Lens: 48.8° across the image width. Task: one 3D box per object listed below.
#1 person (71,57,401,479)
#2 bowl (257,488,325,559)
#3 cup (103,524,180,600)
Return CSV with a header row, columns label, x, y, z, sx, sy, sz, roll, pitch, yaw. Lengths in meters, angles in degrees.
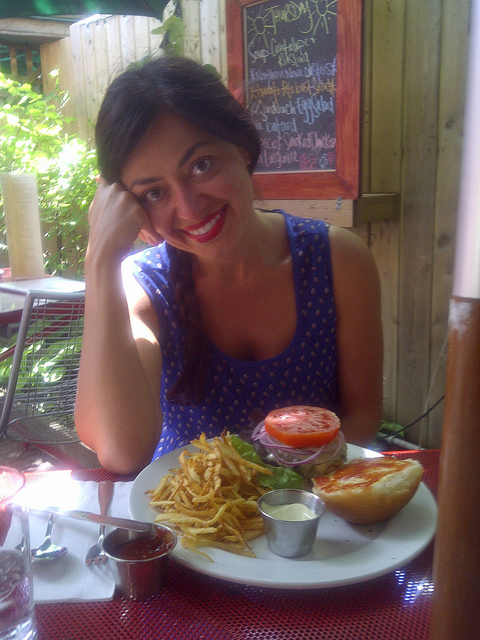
label,x,y,z,sx,sy,sz,roll,pitch,yaw
person,-0.041,-0.156,1.481,0.941,1.081,0.532,-11,18,-18
bowl,0.079,0.323,0.836,0.104,0.070,0.110,1,8,0
cup,-0.132,0.328,0.761,0.124,0.069,0.081,-2,12,0
